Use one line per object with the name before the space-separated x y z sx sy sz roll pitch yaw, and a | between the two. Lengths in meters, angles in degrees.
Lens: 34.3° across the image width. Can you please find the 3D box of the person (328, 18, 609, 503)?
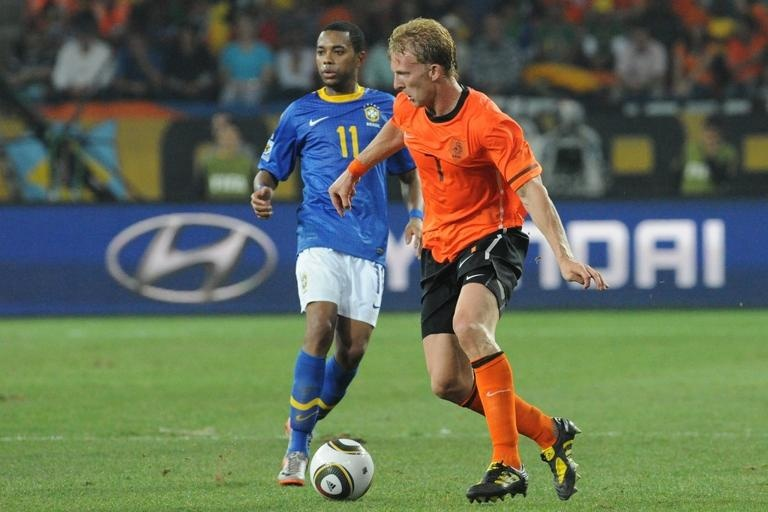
person | 0.738 0.004 10.544 1.456 4.017 0.817 1 4 3

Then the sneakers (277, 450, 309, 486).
sneakers | -0.805 1.856 10.867 0.241 0.261 0.165 1 4 0

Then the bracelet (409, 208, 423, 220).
bracelet | 0.282 -0.383 11.557 0.107 0.078 0.105 0 -11 0
